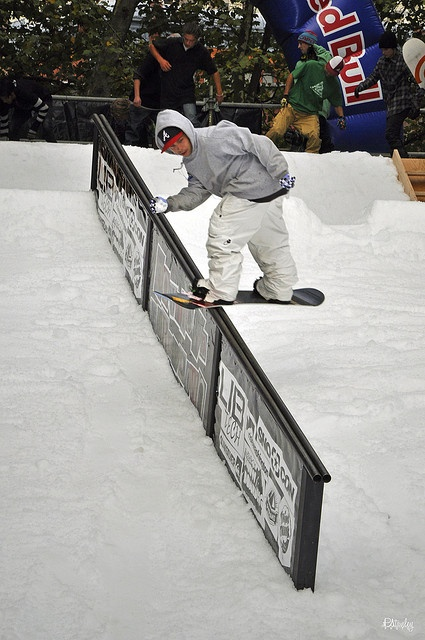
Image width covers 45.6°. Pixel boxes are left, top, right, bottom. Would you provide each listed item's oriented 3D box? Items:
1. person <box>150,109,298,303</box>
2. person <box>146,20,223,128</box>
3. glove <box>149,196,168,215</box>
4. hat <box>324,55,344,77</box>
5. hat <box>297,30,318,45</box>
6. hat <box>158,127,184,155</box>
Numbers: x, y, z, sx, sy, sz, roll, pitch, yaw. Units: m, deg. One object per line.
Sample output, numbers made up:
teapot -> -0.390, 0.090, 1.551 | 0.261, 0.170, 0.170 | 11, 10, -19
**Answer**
person -> 0.087, -0.669, 3.251 | 0.971, 1.214, 0.648 | -16, 28, -39
person -> -0.366, -3.212, 7.098 | 0.985, 1.848, 0.589 | 9, 57, -3
glove -> -0.346, -0.728, 3.233 | 0.086, 0.121, 0.046 | -10, 11, -10
hat -> 1.679, -3.464, 6.951 | 0.198, 0.267, 0.224 | 32, 25, -26
hat -> 1.423, -4.207, 7.548 | 0.194, 0.174, 0.367 | 11, 24, 20
hat -> -0.254, -1.042, 2.894 | 0.152, 0.074, 0.114 | -45, 9, -24
